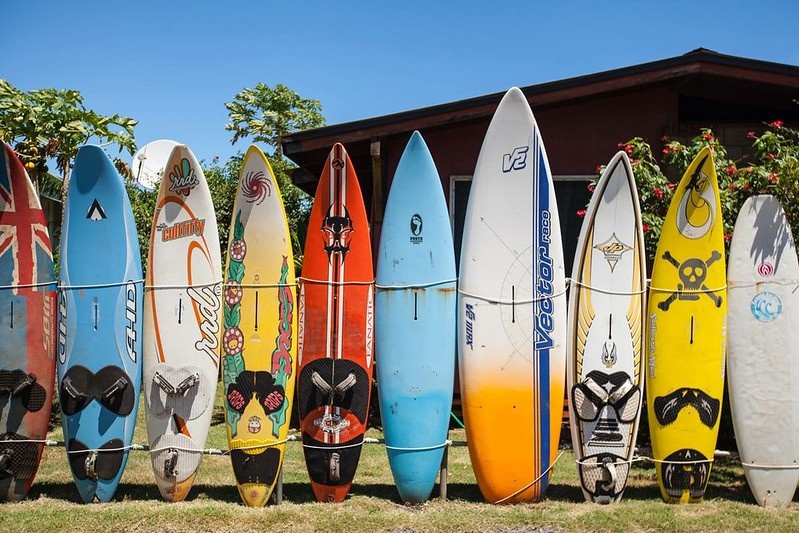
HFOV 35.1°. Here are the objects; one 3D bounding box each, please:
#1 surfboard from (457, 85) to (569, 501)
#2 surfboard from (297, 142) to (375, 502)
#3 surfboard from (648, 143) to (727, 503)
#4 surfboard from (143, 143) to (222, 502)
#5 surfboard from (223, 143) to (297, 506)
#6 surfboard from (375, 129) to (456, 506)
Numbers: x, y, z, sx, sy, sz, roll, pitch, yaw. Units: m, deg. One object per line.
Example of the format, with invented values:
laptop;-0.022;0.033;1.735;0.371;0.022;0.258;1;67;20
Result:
surfboard;1.009;0.254;11.416;0.881;3.713;0.174;0;-5;-3
surfboard;-0.567;0.500;11.664;0.685;3.230;0.444;0;-4;2
surfboard;2.589;0.602;11.404;0.637;3.337;0.353;3;-3;4
surfboard;-1.953;0.503;11.436;0.691;3.210;0.279;1;-5;-16
surfboard;-1.259;0.528;11.435;0.659;3.226;0.266;1;-5;-11
surfboard;0.147;0.452;11.460;0.739;3.345;0.212;0;-5;-1
